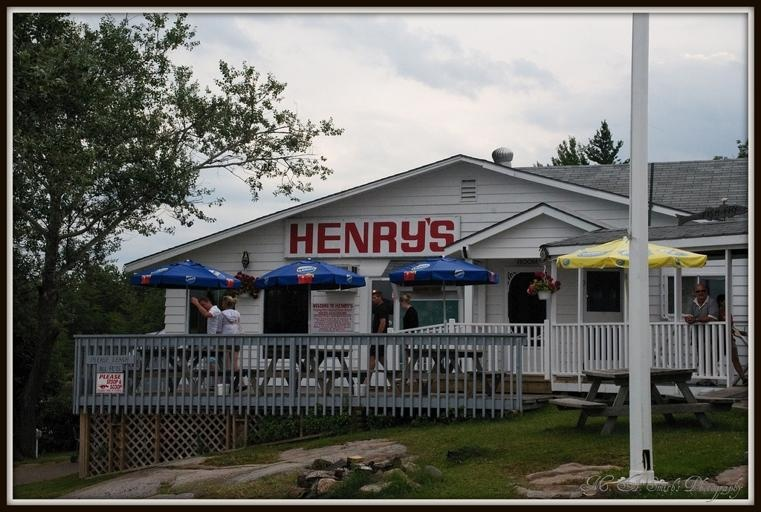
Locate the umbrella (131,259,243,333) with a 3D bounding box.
[{"bbox_3d":[-5.690,1.073,30.689,1.772,1.075,1.858,-9,-11,41],"label":"umbrella"}]

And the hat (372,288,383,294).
[{"bbox_3d":[-0.082,1.079,32.020,0.179,0.129,0.176,1,-18,18],"label":"hat"}]

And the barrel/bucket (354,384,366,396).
[{"bbox_3d":[-0.534,3.523,28.449,0.302,0.314,0.398,1,-6,-22],"label":"barrel/bucket"}]

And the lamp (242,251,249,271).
[{"bbox_3d":[-4.227,0.170,34.256,0.260,0.587,0.158,-2,-6,8],"label":"lamp"}]

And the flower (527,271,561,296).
[{"bbox_3d":[4.734,0.822,31.166,0.790,0.498,0.748,3,-2,10],"label":"flower"}]

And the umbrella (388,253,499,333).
[{"bbox_3d":[1.855,0.615,30.144,2.409,1.384,2.276,4,-7,-25],"label":"umbrella"}]

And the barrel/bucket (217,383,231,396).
[{"bbox_3d":[-4.210,3.608,29.105,0.383,0.254,0.288,-3,-6,23],"label":"barrel/bucket"}]

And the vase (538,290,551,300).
[{"bbox_3d":[4.697,1.152,30.982,0.280,0.158,0.262,3,-6,-14],"label":"vase"}]
